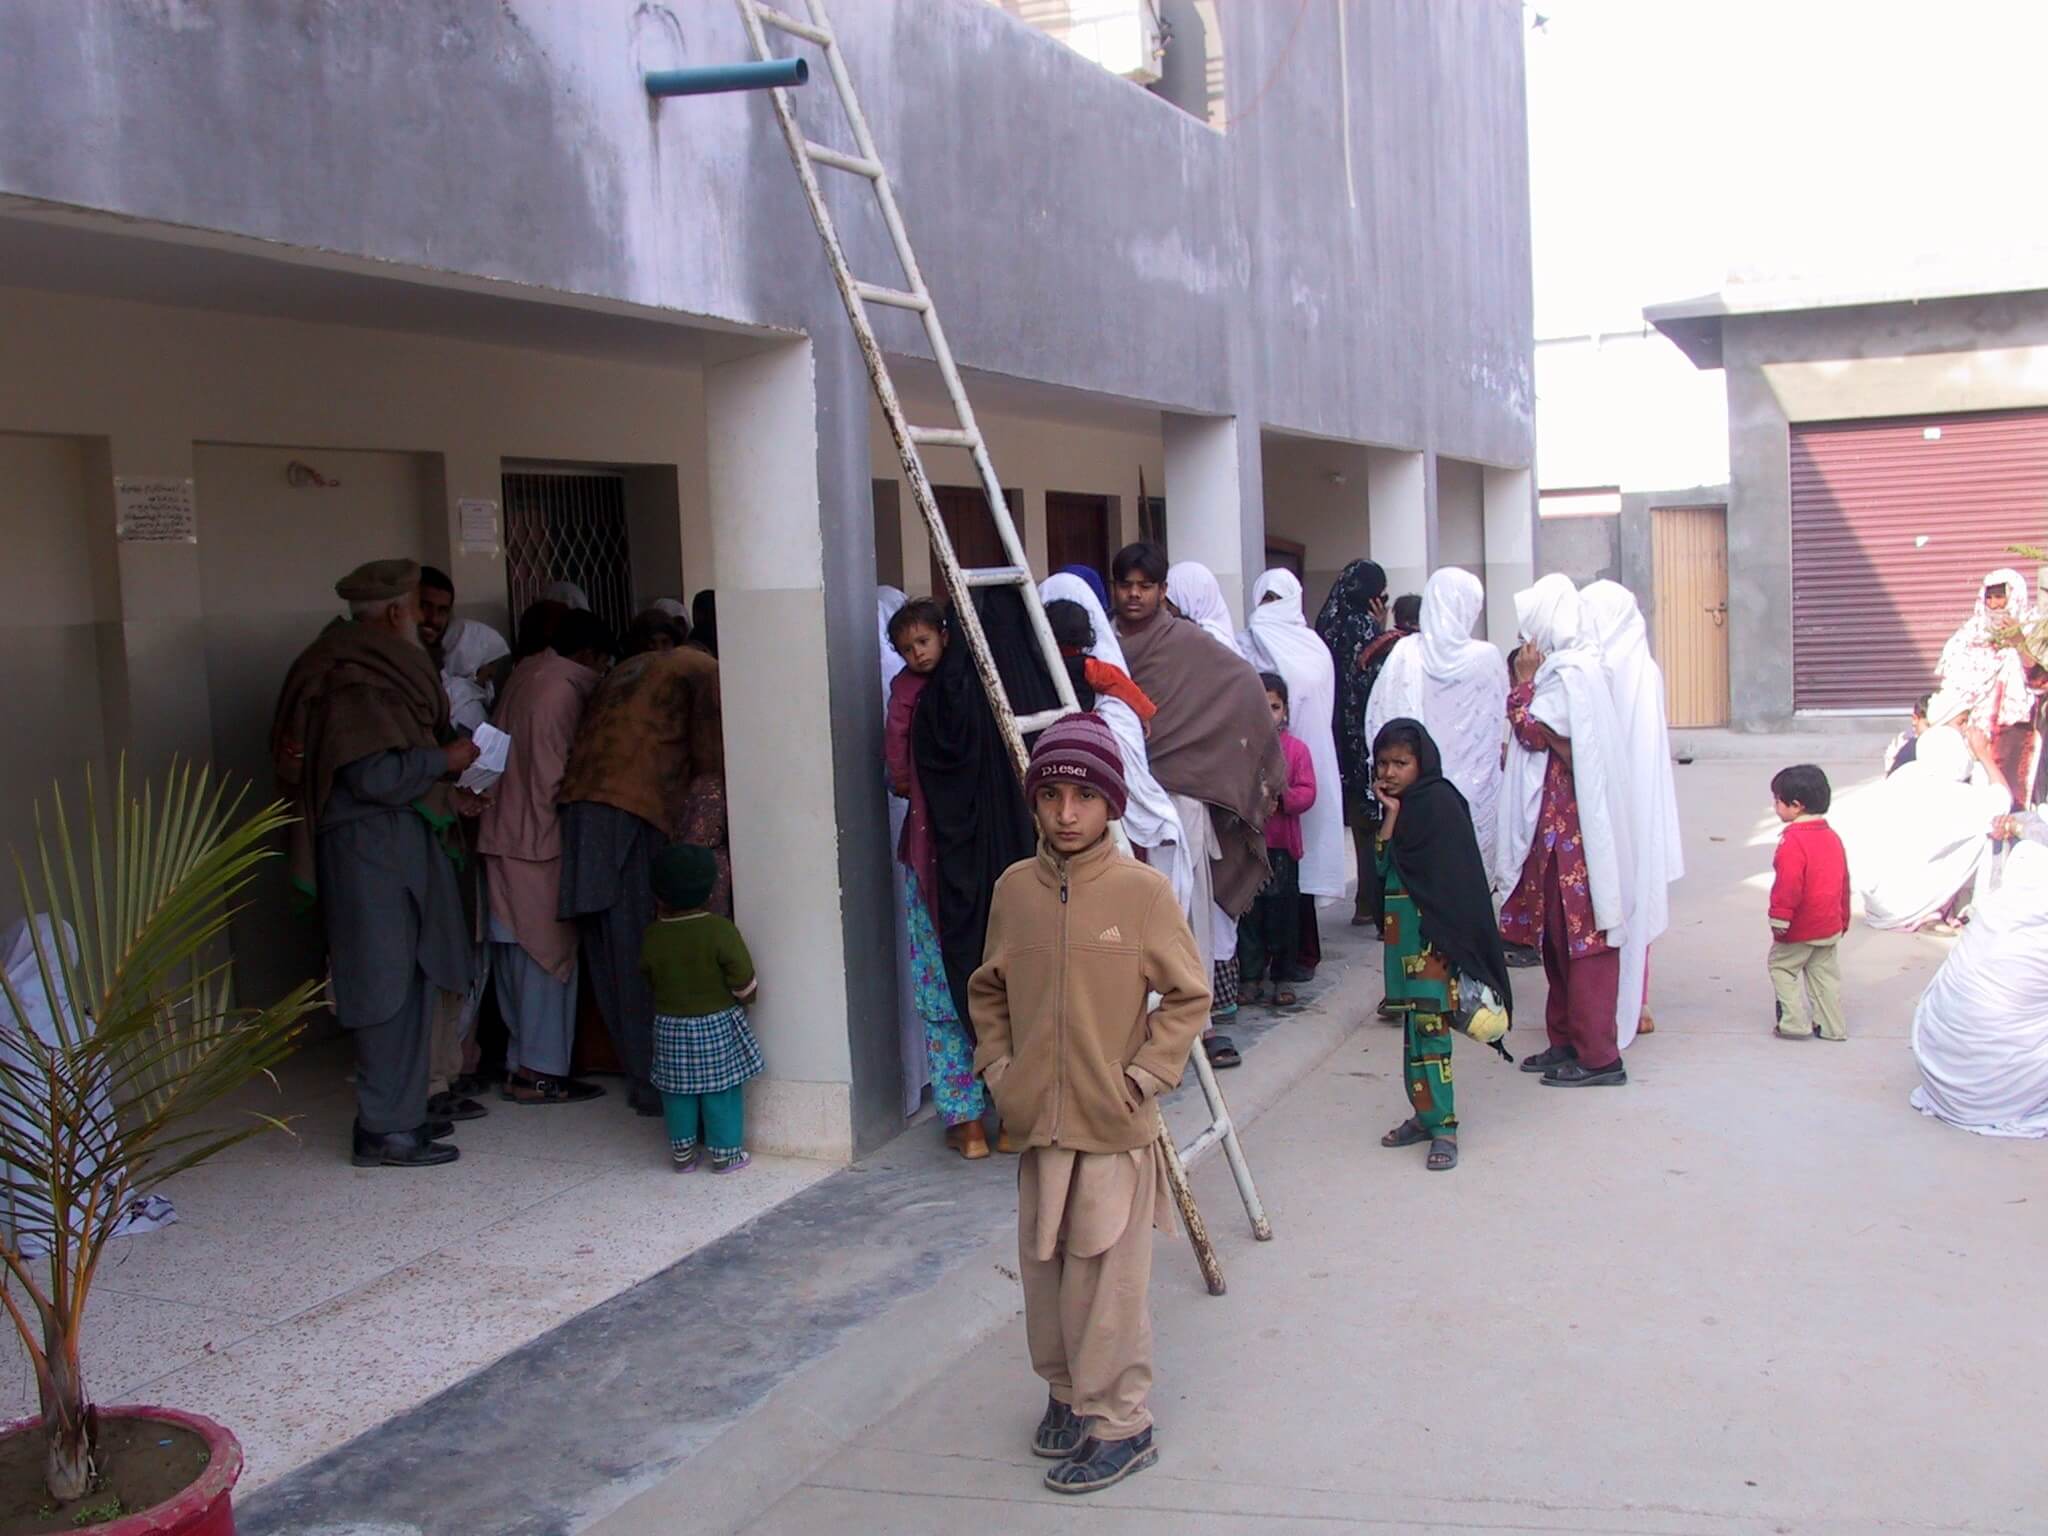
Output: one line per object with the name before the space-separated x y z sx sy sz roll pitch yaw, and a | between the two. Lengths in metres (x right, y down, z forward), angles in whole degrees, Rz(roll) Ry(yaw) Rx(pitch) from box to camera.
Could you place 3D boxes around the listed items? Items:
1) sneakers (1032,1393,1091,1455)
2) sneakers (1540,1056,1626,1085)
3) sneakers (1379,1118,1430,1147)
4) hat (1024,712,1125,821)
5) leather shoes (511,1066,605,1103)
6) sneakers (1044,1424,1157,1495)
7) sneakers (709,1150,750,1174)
sneakers | 0.093 1.646 3.912 0.066 0.129 0.198 -1 -7 7
sneakers | 2.357 1.272 6.531 0.286 0.128 0.140 3 4 15
sneakers | 1.451 1.372 5.915 0.208 0.157 0.078 1 4 -4
hat | 0.140 -0.024 3.878 0.218 0.238 0.238 16 -12 4
leather shoes | -1.956 1.325 6.603 0.387 0.171 0.136 0 7 -9
sneakers | 0.188 1.656 3.754 0.231 0.108 0.108 -3 5 -31
sneakers | -1.060 1.400 5.621 0.060 0.064 0.133 8 14 36
